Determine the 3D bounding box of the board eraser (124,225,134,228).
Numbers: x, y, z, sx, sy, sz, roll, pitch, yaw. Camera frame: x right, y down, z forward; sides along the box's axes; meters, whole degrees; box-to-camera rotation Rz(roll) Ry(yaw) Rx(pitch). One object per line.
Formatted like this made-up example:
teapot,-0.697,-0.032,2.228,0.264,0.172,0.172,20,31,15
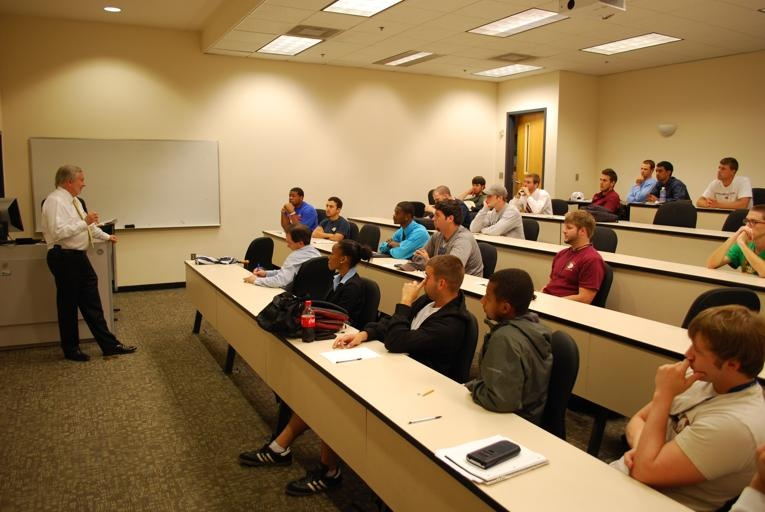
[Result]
board eraser,-3.772,-0.446,7.448,0.073,0.042,0.059,0,9,-9

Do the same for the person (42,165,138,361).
person,-3.007,0.082,4.951,0.521,1.903,0.423,-10,16,-35

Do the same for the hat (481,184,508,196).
hat,1.416,-0.817,6.209,0.325,0.207,0.250,3,6,3

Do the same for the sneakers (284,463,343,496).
sneakers,-0.446,1.451,3.318,0.386,0.194,0.160,-3,13,-22

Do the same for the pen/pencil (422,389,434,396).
pen/pencil,0.248,0.741,2.697,0.021,0.027,0.097,6,7,30

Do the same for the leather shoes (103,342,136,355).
leather shoes,-2.702,0.971,5.152,0.305,0.142,0.116,-4,10,-28

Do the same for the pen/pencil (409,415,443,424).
pen/pencil,0.216,0.822,2.485,0.162,0.020,0.018,-1,9,-36

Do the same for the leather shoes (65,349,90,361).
leather shoes,-3.070,0.994,5.025,0.213,0.105,0.119,0,8,-3

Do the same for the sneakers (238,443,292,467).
sneakers,-0.827,1.412,3.551,0.343,0.174,0.150,6,-5,-5

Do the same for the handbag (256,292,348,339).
handbag,-0.535,0.409,3.358,0.389,0.195,0.333,0,6,-16
